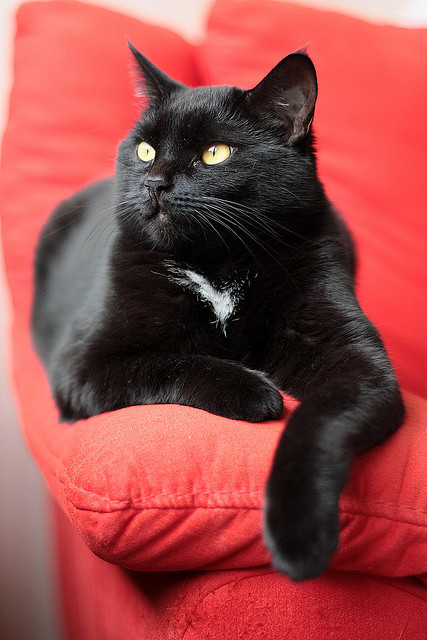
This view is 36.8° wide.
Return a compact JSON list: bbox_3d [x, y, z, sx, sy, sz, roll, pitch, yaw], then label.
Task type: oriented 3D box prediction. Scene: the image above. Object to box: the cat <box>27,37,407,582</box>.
[{"bbox_3d":[-0.004,-0.056,1.001,0.452,0.445,0.756,1,-5,1],"label":"cat"}]
